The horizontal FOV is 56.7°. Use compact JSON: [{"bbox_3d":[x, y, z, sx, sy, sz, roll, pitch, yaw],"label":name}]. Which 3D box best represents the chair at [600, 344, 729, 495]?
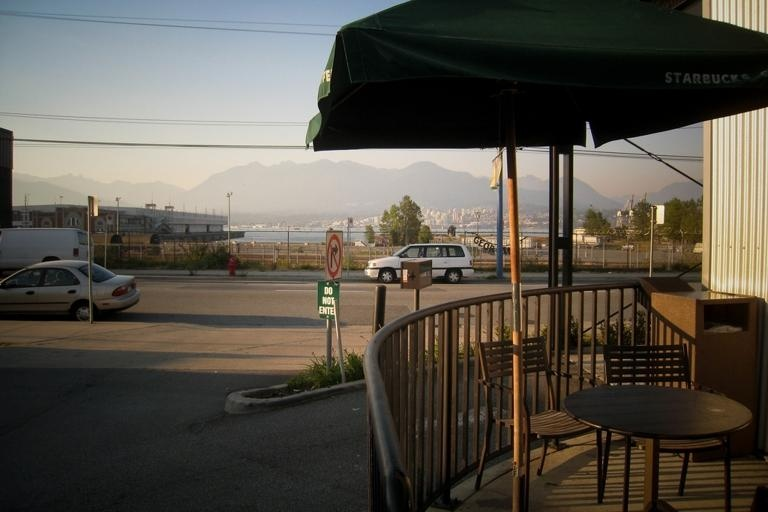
[{"bbox_3d":[2.811,1.689,7.101,0.853,1.680,1.127,-2,-6,5],"label":"chair"}]

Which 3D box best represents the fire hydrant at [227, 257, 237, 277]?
[{"bbox_3d":[-7.186,0.493,33.726,0.316,0.812,1.484,0,3,-13],"label":"fire hydrant"}]

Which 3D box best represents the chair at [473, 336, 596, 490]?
[{"bbox_3d":[1.627,1.675,7.428,0.996,1.480,0.946,1,-1,-29],"label":"chair"}]

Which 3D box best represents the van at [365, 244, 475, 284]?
[{"bbox_3d":[1.454,0.191,28.352,3.560,1.557,1.906,2,0,0],"label":"van"}]
